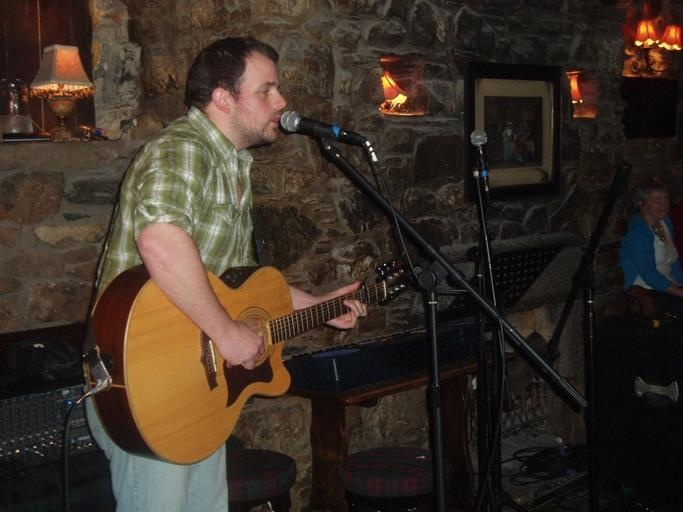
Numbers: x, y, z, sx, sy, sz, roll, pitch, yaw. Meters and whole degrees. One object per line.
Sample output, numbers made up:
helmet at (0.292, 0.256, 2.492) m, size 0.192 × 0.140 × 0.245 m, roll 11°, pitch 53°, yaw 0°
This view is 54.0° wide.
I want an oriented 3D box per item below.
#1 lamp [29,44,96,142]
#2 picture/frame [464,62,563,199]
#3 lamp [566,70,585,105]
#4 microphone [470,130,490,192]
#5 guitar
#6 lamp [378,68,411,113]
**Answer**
lamp at (-1.965, -1.141, 4.714) m, size 0.404 × 0.642 × 0.416 m, roll -1°, pitch 3°, yaw 7°
picture/frame at (1.096, -0.836, 4.363) m, size 0.994 × 1.050 × 0.073 m, roll -6°, pitch 7°, yaw -32°
lamp at (1.726, -1.248, 4.959) m, size 0.068 × 0.228 × 0.212 m, roll 4°, pitch 11°, yaw 36°
microphone at (0.554, -0.387, 2.677) m, size 0.062 × 0.253 × 0.074 m, roll -7°, pitch 7°, yaw 45°
guitar at (-0.441, 0.332, 2.580) m, size 0.267 × 0.685 × 1.081 m, roll 6°, pitch 12°, yaw 41°
lamp at (0.307, -0.961, 3.930) m, size 0.112 × 0.258 × 0.194 m, roll 2°, pitch 10°, yaw 21°
